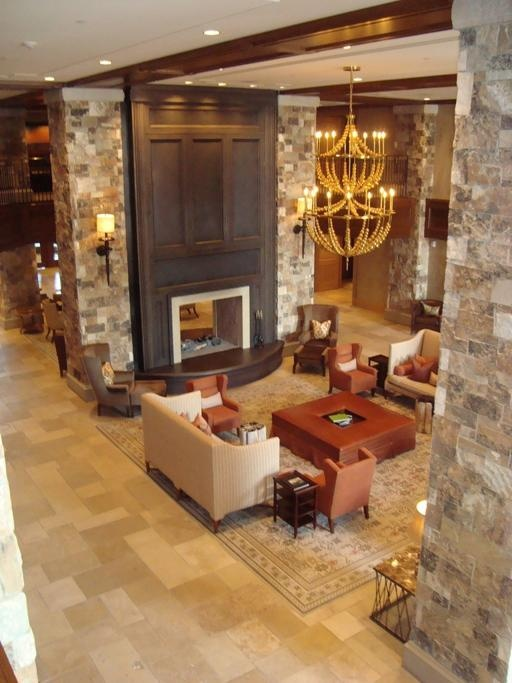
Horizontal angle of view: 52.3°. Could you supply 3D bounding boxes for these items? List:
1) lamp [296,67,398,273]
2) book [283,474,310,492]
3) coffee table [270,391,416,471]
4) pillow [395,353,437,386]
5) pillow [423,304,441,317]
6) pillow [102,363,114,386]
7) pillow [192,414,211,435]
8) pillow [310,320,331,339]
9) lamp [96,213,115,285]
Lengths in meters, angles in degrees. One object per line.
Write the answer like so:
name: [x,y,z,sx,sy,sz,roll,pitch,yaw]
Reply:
lamp: [1.385,-2.433,7.733,1.277,2.512,1.260,1,-5,10]
book: [0.458,1.614,6.002,0.260,0.027,0.350,-6,12,-24]
coffee table: [1.332,1.251,7.673,1.194,0.331,1.224,-14,23,-34]
pillow: [3.016,0.525,9.518,0.570,0.560,0.172,18,0,29]
pillow: [4.352,-0.787,12.900,0.292,0.208,0.099,14,1,33]
pillow: [-2.594,0.545,8.982,0.095,0.315,0.317,-13,-20,16]
pillow: [-0.726,1.076,6.831,0.105,0.202,0.165,-26,52,2]
pillow: [1.404,-0.264,11.301,0.422,0.423,0.162,1,1,21]
lamp: [-2.582,-1.597,9.003,0.361,1.233,0.404,-4,11,-17]
